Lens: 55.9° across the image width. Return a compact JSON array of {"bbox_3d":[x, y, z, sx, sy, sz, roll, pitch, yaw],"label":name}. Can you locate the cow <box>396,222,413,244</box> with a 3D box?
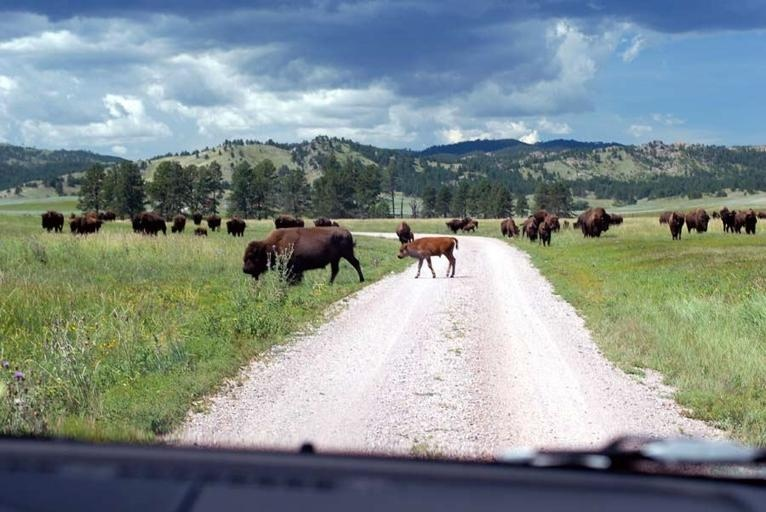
[{"bbox_3d":[1.274,-1.532,45.232,0.657,1.273,2.234,0,13,5],"label":"cow"}]
